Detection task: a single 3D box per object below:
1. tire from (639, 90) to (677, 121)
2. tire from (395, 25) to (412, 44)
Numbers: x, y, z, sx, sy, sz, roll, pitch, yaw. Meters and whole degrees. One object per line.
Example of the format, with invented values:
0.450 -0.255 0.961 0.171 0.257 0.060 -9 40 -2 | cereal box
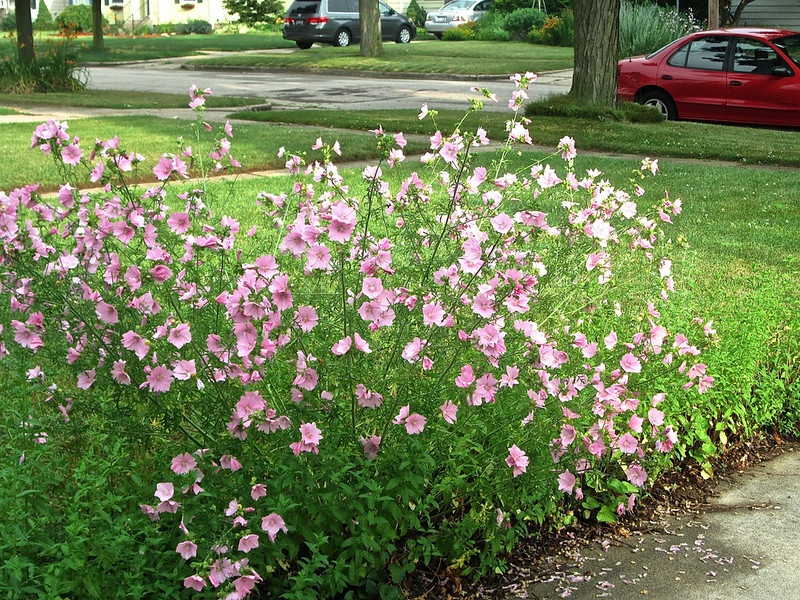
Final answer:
5.557 -4.158 14.869 0.735 0.864 0.282 4 9 26 | tire
0.148 -13.801 35.966 0.792 0.892 0.286 -3 15 -37 | tire
